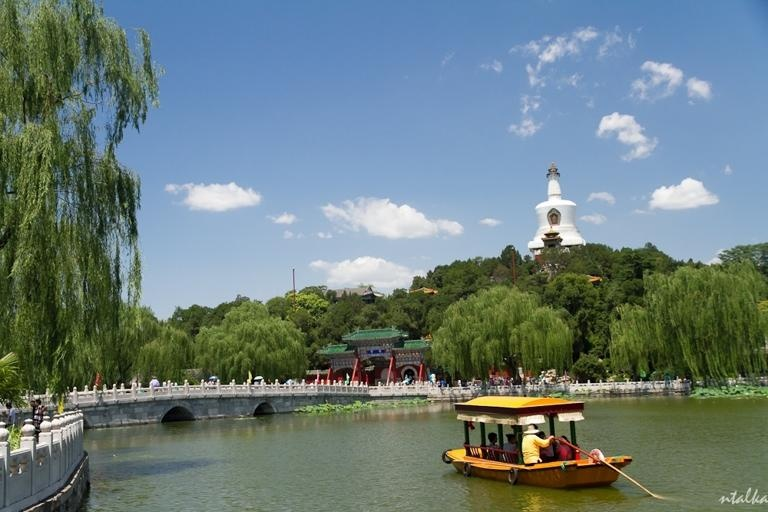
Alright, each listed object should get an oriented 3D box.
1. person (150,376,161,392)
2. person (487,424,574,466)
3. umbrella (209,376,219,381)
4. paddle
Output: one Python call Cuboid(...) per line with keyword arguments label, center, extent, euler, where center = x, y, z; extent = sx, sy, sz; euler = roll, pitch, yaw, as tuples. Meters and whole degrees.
Cuboid(label="person", center=(-13.088, 7.332, 36.577), extent=(0.506, 0.737, 1.276), euler=(1, -14, -18))
Cuboid(label="person", center=(4.006, 5.373, 17.962), extent=(1.153, 0.713, 2.067), euler=(6, -8, -39))
Cuboid(label="umbrella", center=(-11.882, 8.611, 44.762), extent=(0.635, 0.227, 0.641), euler=(1, -4, 0))
Cuboid(label="paddle", center=(6.581, 6.087, 18.221), extent=(3.328, 0.265, 0.501), euler=(29, 1, 31))
